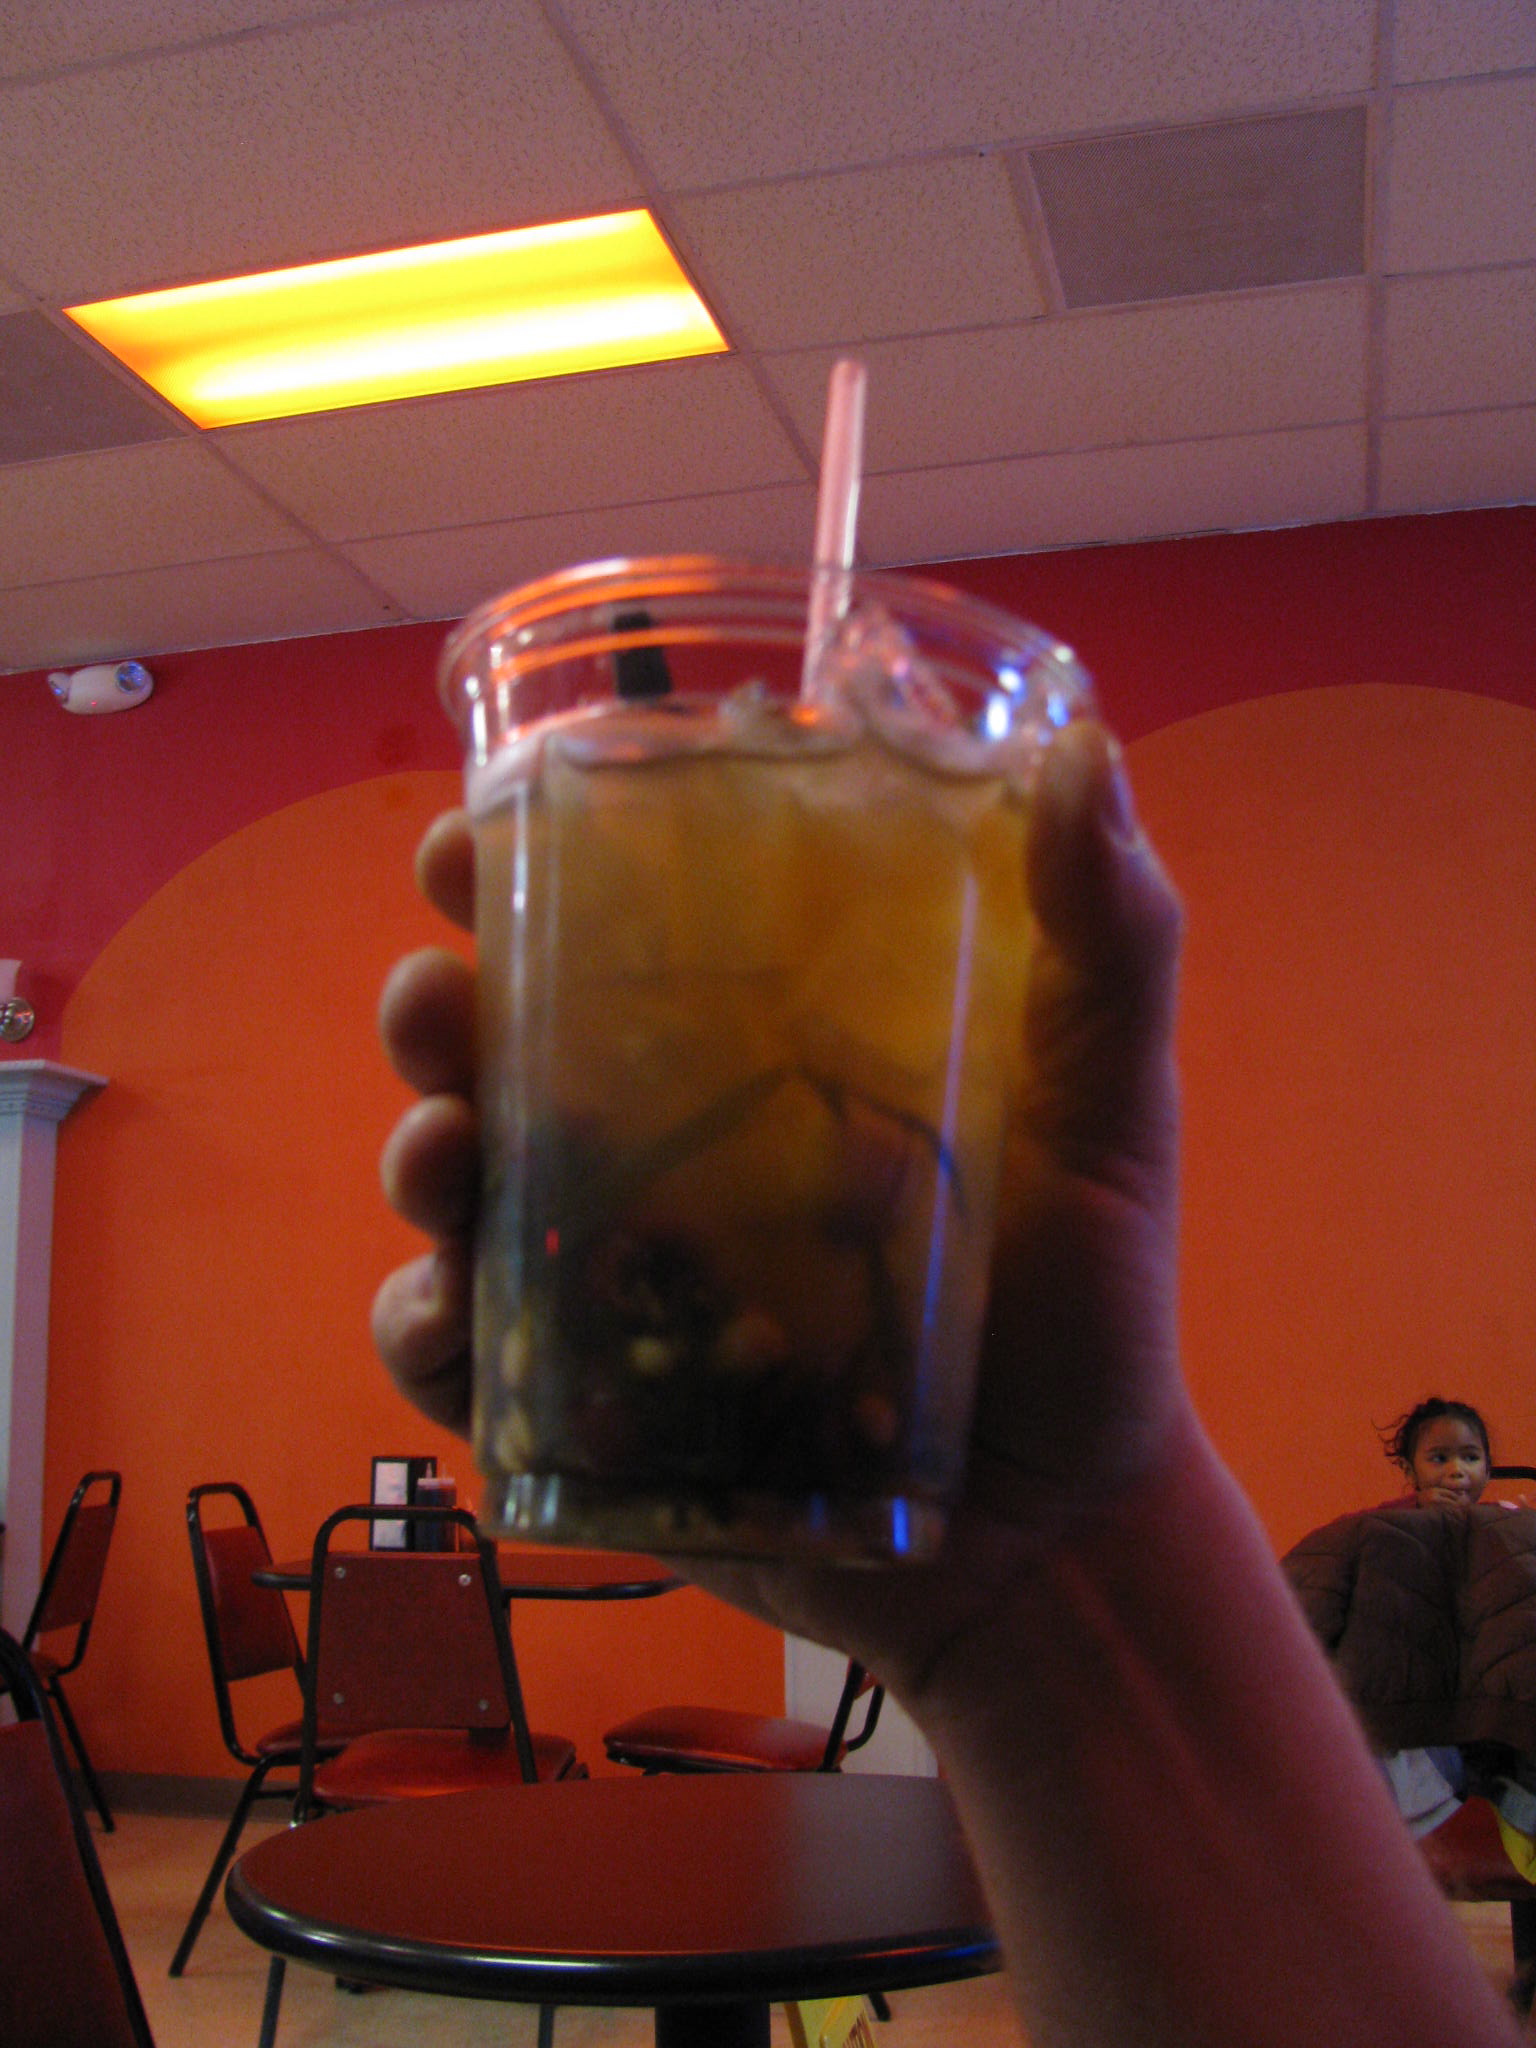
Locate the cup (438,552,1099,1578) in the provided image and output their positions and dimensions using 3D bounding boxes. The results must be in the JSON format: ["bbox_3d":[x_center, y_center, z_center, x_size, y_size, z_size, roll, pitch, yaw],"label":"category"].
[{"bbox_3d":[-0.014,0.006,0.662,0.232,0.307,0.140,1,-1,7],"label":"cup"}]
